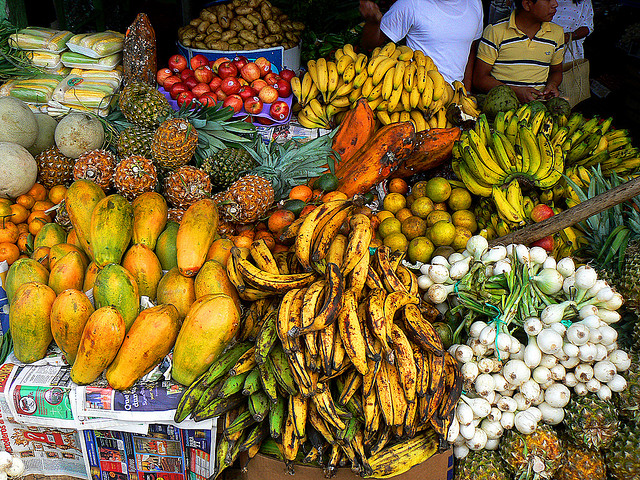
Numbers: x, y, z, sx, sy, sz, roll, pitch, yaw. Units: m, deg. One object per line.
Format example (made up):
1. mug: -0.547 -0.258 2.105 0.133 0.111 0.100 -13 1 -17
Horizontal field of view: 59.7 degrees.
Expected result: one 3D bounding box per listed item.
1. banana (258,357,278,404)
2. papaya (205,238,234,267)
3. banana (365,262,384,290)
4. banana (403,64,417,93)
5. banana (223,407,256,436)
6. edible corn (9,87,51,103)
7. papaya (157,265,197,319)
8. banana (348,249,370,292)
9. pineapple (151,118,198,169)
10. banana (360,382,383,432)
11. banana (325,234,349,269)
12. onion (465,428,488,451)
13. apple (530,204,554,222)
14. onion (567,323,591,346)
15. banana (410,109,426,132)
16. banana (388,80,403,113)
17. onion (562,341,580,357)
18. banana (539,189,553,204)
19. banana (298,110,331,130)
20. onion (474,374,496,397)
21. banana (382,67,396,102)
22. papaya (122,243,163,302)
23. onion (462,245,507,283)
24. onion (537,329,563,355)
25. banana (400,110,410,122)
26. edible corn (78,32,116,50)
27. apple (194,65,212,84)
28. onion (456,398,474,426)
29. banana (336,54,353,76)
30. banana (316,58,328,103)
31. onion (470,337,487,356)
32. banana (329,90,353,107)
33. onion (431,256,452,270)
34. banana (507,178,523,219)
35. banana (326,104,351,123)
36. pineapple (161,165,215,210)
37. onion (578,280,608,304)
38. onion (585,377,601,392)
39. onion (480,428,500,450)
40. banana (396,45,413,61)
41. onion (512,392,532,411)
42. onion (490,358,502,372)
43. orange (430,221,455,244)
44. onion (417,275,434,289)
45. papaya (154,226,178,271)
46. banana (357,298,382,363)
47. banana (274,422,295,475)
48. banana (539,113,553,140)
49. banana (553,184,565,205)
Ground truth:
1. banana: -0.351 0.883 3.607 0.105 0.078 0.322 13 55 -49
2. papaya: -0.717 0.077 4.011 0.174 0.185 0.231 7 46 -1
3. banana: 0.368 0.267 3.786 0.074 0.063 0.236 7 55 -54
4. banana: 0.838 -1.513 5.212 0.111 0.241 0.078 12 -6 -12
5. banana: -0.509 1.174 3.650 0.262 0.087 0.073 -48 16 -25
6. edible corn: -2.685 -1.345 5.157 0.292 0.113 0.149 7 -10 0
7. papaya: -0.983 0.351 3.901 0.216 0.252 0.331 -13 56 -3
8. banana: 0.269 0.219 3.777 0.081 0.336 0.105 19 -1 12
9. pineapple: -1.206 -0.797 4.639 0.386 0.351 0.481 -4 69 -5
10. banana: 0.331 1.068 3.564 0.119 0.367 0.091 -19 -13 33
11. banana: 0.128 0.073 3.873 0.110 0.084 0.244 21 49 4
12. onion: 1.079 1.366 3.802 0.133 0.150 0.082 6 1 -5
13. apple: 1.783 -0.238 4.517 0.163 0.144 0.139 -34 11 -4
14. onion: 1.734 0.626 3.708 0.126 0.145 0.084 1 -3 9
15. banana: 0.977 -1.168 5.383 0.154 0.135 0.186 -10 38 -22
16. banana: 0.703 -1.325 5.155 0.076 0.319 0.098 14 -6 -15
17. onion: 1.705 0.737 3.784 0.058 0.066 0.115 35 1 -7
18. banana: 1.899 -0.373 4.652 0.063 0.133 0.061 25 26 -13
19. banana: -0.056 -1.172 5.443 0.267 0.167 0.111 19 12 7
20. onion: 1.124 0.977 3.770 0.114 0.146 0.078 5 -4 8
21. banana: 0.632 -1.430 5.159 0.080 0.333 0.103 8 -13 19
22. papaya: -1.227 0.193 3.932 0.198 0.425 0.227 -13 -2 42
23. onion: 1.217 0.184 4.078 0.276 0.084 0.082 -40 47 -8
24. onion: 1.543 0.678 3.745 0.147 0.150 0.098 27 2 19
25. banana: 0.825 -1.185 5.330 0.100 0.073 0.139 4 36 -4
26. edible corn: -2.176 -1.935 5.451 0.316 0.104 0.155 -29 19 -39
27. apple: -1.149 -1.640 5.510 0.147 0.167 0.157 -2 28 -11
28. onion: 0.976 1.155 3.752 0.077 0.083 0.169 -9 69 -2
29. banana: 0.233 -1.654 5.267 0.110 0.077 0.226 5 59 43
30. banana: 0.037 -1.527 5.274 0.090 0.415 0.085 11 -20 -44
31. onion: 1.098 0.731 3.843 0.084 0.120 0.062 -2 -6 19
32. banana: 0.203 -1.320 5.305 0.262 0.084 0.112 -24 44 17
33. onion: 0.905 0.154 4.147 0.124 0.074 0.055 35 21 -22
34. banana: 1.564 -0.338 4.516 0.098 0.079 0.323 9 65 -47
35. banana: 0.185 -1.226 5.337 0.303 0.086 0.069 -31 75 6
36. pineapple: -1.076 -0.392 4.541 0.318 0.386 0.371 2 3 -2
37. onion: 1.919 0.360 3.900 0.049 0.179 0.046 42 2 -16
38. onion: 1.876 0.989 3.805 0.078 0.103 0.058 -9 -1 22
39. onion: 1.201 1.396 3.907 0.081 0.083 0.103 44 35 -17
40. banana: 0.853 -1.869 5.574 0.173 0.075 0.607 9 37 3
41. onion: 1.393 1.107 3.819 0.106 0.098 0.068 10 14 17
42. onion: 1.221 0.854 3.820 0.078 0.069 0.046 21 2 16
43. orange: 0.944 -0.070 4.345 0.156 0.204 0.159 -6 19 -12
44. onion: 0.782 0.307 4.126 0.103 0.066 0.093 1 -12 5
45. papaya: -1.101 0.062 4.031 0.162 0.303 0.166 -1 -1 -9
46. banana: 0.315 0.588 3.587 0.146 0.101 0.480 -2 73 -29
47. banana: -0.219 1.361 3.586 0.113 0.089 0.347 -9 80 -33
48. banana: 2.024 -1.017 4.964 0.080 0.087 0.303 15 69 -15
49. banana: 2.036 -0.405 4.773 0.059 0.223 0.070 22 38 22
